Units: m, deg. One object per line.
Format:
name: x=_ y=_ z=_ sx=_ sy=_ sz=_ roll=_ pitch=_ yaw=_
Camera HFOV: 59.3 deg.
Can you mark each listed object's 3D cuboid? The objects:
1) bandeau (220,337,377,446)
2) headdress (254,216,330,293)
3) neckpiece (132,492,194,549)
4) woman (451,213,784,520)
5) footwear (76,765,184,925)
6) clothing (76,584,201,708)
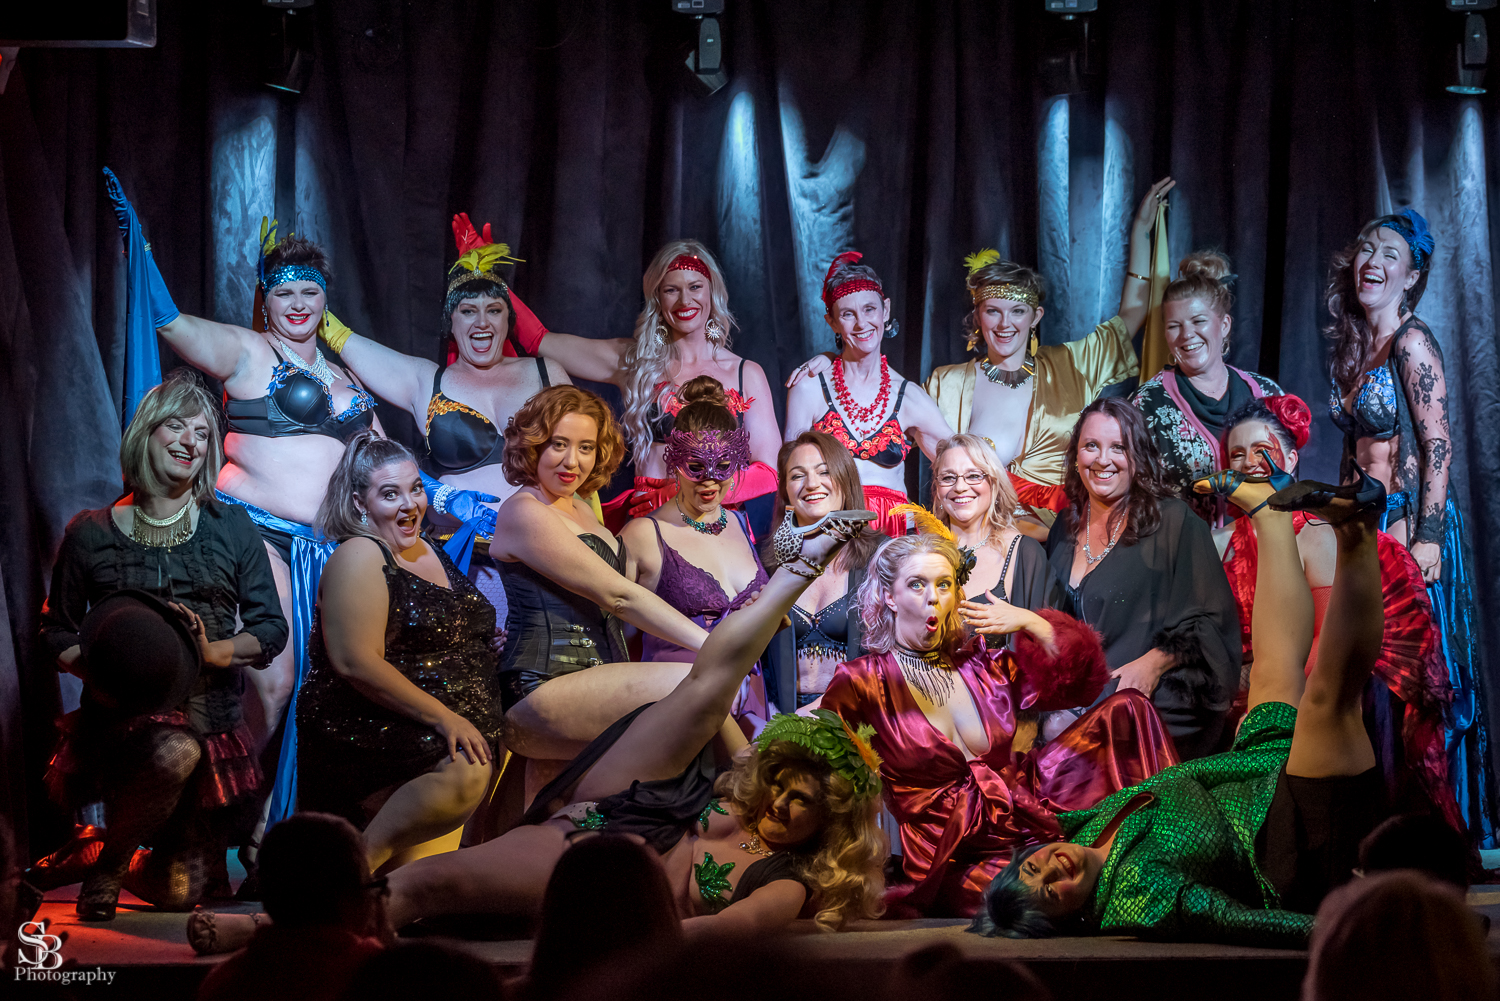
bandeau: x=-1.895 y=-0.369 z=5.230 sx=0.313 sy=0.358 sz=0.486 roll=3 pitch=-11 yaw=1
headdress: x=-1.816 y=-0.950 z=5.187 sx=0.318 sy=0.241 sz=0.232 roll=14 pitch=18 yaw=36
neckpiece: x=-1.881 y=0.066 z=4.224 sx=0.147 sy=0.144 sz=0.054 roll=-4 pitch=-17 yaw=-10
woman: x=-0.522 y=-0.495 z=5.055 sx=1.025 sy=1.542 sz=0.574 roll=-5 pitch=-30 yaw=0
footwear: x=-1.834 y=0.991 z=3.865 sx=0.181 sy=0.557 sz=0.236 roll=23 pitch=11 yaw=-5
clothing: x=-1.834 y=0.461 z=3.970 sx=0.321 sy=0.370 sz=0.193 roll=-6 pitch=10 yaw=-23
